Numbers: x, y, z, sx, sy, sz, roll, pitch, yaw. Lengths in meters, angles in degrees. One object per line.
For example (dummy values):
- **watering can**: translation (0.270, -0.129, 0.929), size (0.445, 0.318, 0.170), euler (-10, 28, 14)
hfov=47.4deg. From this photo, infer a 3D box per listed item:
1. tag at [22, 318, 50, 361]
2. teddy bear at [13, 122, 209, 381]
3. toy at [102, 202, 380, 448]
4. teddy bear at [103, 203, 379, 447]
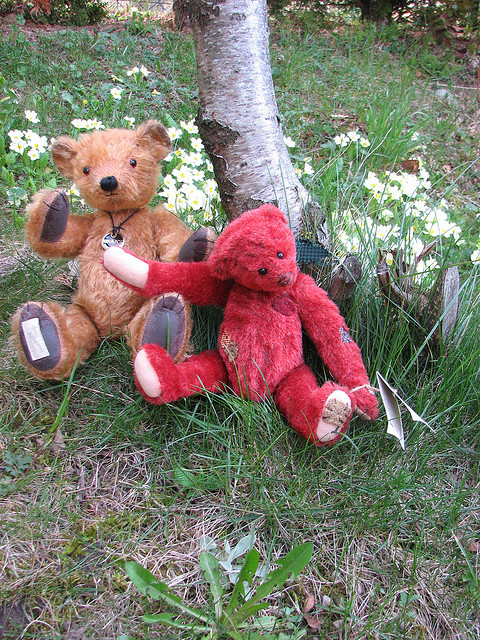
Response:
- **tag**: translation (-0.606, 0.058, 1.621), size (0.050, 0.099, 0.077), euler (-16, 42, -22)
- **teddy bear**: translation (-0.453, -0.227, 1.759), size (0.644, 0.742, 0.605), euler (-16, 28, -36)
- **toy**: translation (0.015, 0.002, 1.559), size (0.833, 0.545, 0.439), euler (10, 38, 8)
- **teddy bear**: translation (0.006, 0.001, 1.586), size (0.808, 0.564, 0.516), euler (7, 20, 4)
